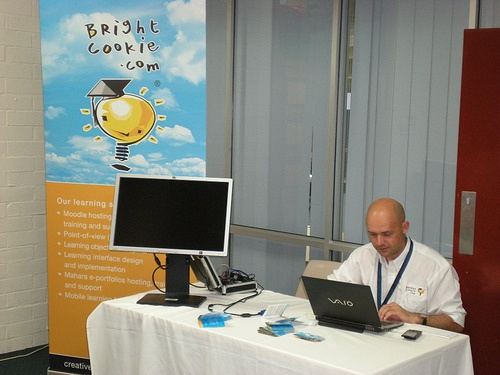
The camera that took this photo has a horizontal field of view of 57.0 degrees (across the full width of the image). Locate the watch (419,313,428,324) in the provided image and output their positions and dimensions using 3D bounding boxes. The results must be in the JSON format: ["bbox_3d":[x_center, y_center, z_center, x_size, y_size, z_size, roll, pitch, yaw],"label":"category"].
[{"bbox_3d":[0.964,0.728,2.548,0.021,0.048,0.033,3,-9,-3],"label":"watch"}]

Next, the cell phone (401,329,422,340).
[{"bbox_3d":[0.823,0.746,2.338,0.068,0.028,0.125,7,13,41],"label":"cell phone"}]
